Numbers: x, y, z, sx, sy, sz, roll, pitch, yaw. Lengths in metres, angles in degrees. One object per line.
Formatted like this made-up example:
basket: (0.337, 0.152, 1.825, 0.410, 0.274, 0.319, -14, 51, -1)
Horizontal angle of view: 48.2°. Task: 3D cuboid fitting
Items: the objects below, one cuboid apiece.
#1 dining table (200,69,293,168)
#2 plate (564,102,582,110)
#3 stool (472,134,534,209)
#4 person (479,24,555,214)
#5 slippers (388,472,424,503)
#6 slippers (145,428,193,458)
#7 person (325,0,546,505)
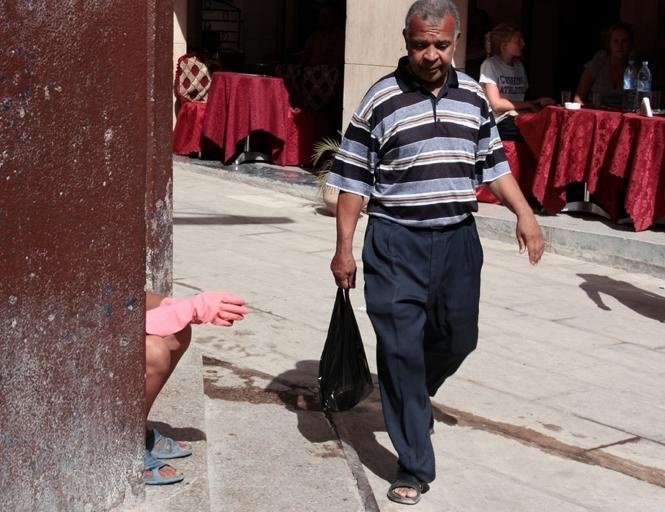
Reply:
dining table: (-1.260, -2.051, 11.268, 1.216, 1.121, 1.261, 2, 7, 4)
plate: (2.366, -1.454, 7.266, 0.131, 0.042, 0.111, -3, 14, -7)
stool: (1.943, -0.881, 8.184, 0.903, 0.746, 0.849, -2, 22, 21)
person: (2.087, -1.597, 8.085, 0.995, 1.674, 0.830, 7, 19, 28)
slippers: (0.289, 0.913, 2.954, 0.122, 0.104, 0.089, 8, 15, 16)
slippers: (-0.668, 0.751, 2.999, 0.218, 0.080, 0.081, 2, 13, -3)
person: (0.417, -0.054, 3.100, 0.706, 1.928, 0.661, -7, 19, -37)
